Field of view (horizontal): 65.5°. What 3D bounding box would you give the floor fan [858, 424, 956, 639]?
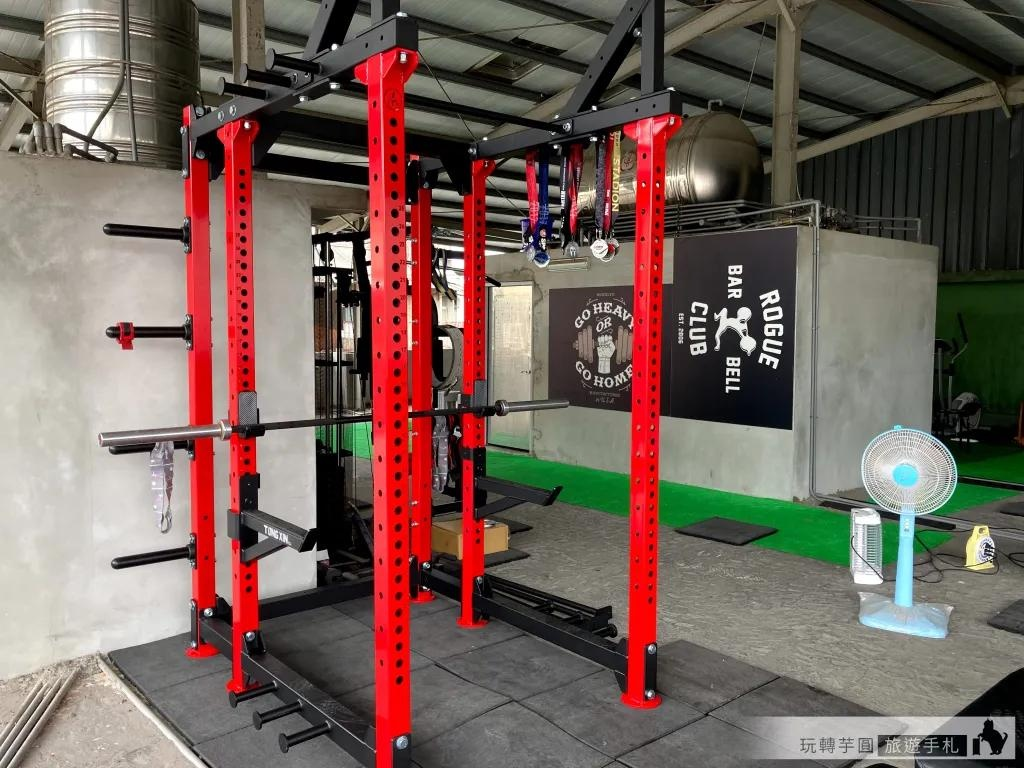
[{"bbox_3d":[2.507,0.912,5.088,0.556,1.240,0.484,4,9,31],"label":"floor fan"}]
